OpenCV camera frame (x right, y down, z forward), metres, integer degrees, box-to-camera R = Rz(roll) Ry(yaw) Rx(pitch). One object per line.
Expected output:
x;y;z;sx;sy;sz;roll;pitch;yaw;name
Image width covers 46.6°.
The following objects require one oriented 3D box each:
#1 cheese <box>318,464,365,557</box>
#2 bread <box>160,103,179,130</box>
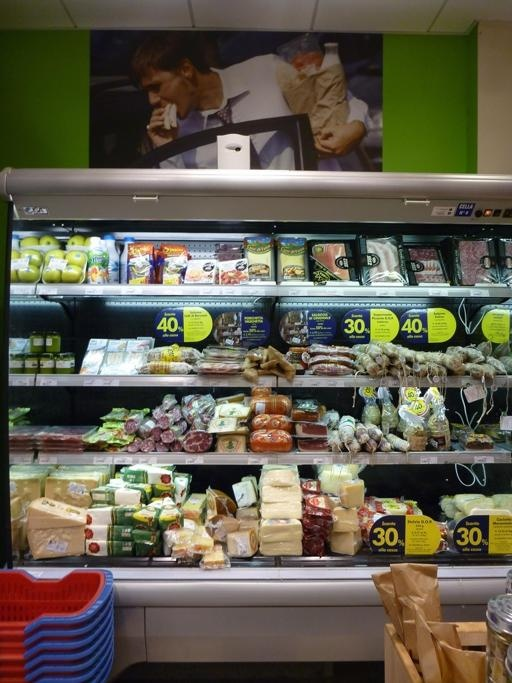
0.433;0.820;2.995;0.217;0.362;0.413;-4;5;5;cheese
-0.502;-1.317;3.501;0.088;0.140;0.039;2;-1;3;bread
